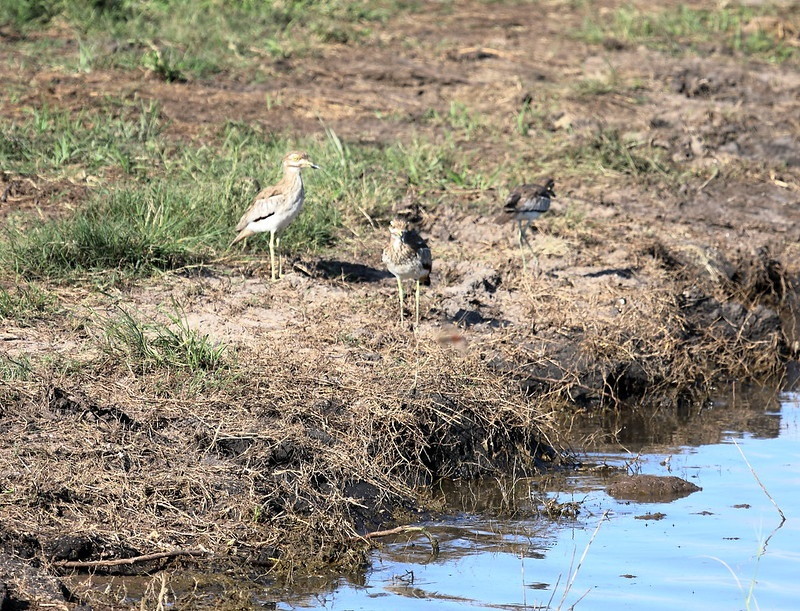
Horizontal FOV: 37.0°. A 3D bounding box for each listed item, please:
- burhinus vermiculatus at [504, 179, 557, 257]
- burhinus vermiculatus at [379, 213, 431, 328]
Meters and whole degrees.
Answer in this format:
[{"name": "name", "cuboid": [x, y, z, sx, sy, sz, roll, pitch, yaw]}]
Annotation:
[{"name": "burhinus vermiculatus", "cuboid": [1.540, -1.119, 14.745, 0.473, 0.856, 1.032, 8, 10, 39]}, {"name": "burhinus vermiculatus", "cuboid": [0.080, -0.427, 12.857, 0.497, 1.176, 0.858, -4, 20, 1]}]
